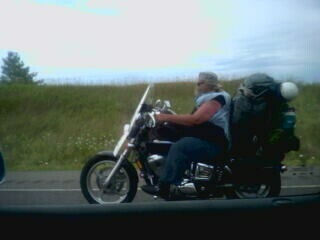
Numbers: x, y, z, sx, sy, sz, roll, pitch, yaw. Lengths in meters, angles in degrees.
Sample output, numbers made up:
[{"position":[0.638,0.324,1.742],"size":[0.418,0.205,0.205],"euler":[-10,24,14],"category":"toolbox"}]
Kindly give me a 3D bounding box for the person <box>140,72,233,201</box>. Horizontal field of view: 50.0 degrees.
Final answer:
[{"position":[0.380,0.206,4.504],"size":[1.098,1.610,1.052],"euler":[4,12,4],"category":"person"}]

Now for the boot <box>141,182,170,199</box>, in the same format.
[{"position":[-0.022,0.783,4.225],"size":[0.423,0.206,0.258],"euler":[2,6,8],"category":"boot"}]

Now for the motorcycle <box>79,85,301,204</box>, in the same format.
[{"position":[0.256,0.366,4.251],"size":[2.579,1.567,1.303],"euler":[-2,3,8],"category":"motorcycle"}]

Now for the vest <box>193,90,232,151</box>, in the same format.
[{"position":[0.658,-0.049,4.206],"size":[0.381,0.718,0.400],"euler":[3,12,11],"category":"vest"}]
